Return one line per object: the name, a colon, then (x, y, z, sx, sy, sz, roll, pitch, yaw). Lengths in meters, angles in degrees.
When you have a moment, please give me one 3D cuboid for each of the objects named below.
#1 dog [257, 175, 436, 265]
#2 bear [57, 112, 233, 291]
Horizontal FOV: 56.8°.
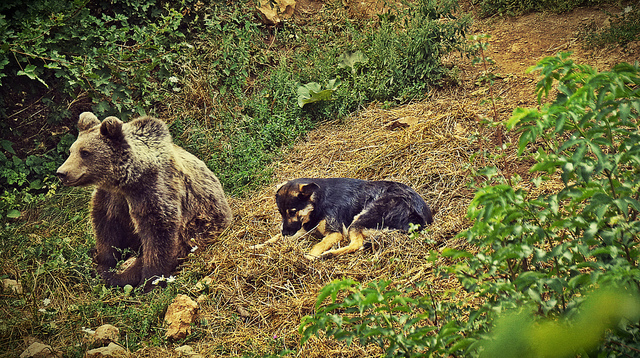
dog: (0.469, 0.597, 7.881, 1.665, 1.195, 3.147, 1, 3, 33)
bear: (-2.383, 0.279, 8.454, 2.735, 2.001, 1.672, 6, -7, -36)
